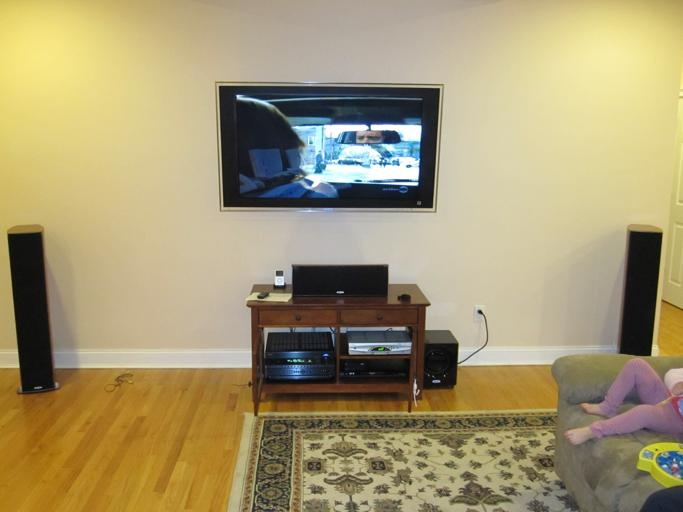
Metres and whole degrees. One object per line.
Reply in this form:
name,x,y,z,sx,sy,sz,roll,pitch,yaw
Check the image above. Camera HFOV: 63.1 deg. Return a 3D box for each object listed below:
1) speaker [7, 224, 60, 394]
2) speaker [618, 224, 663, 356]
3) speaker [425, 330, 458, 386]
speaker,-2.294,0.401,4.128,0.255,1.236,0.243,-3,15,-16
speaker,2.348,0.270,4.395,0.276,0.997,0.339,8,16,27
speaker,0.760,0.809,4.314,0.263,0.370,0.382,-1,7,4
